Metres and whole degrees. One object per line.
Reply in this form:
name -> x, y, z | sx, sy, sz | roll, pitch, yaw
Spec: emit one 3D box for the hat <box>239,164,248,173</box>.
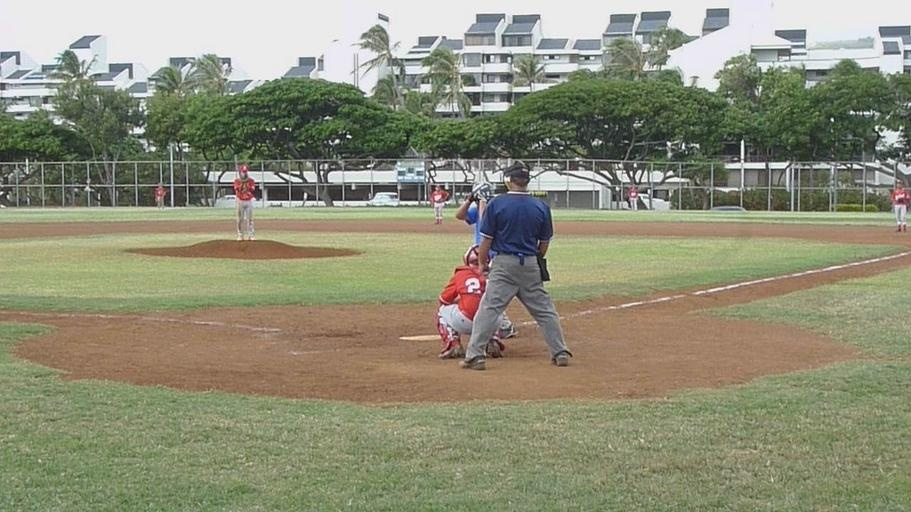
hat -> -9.227, -3.835, 48.530 | 0.357, 0.261, 0.326 | 6, 15, 21
